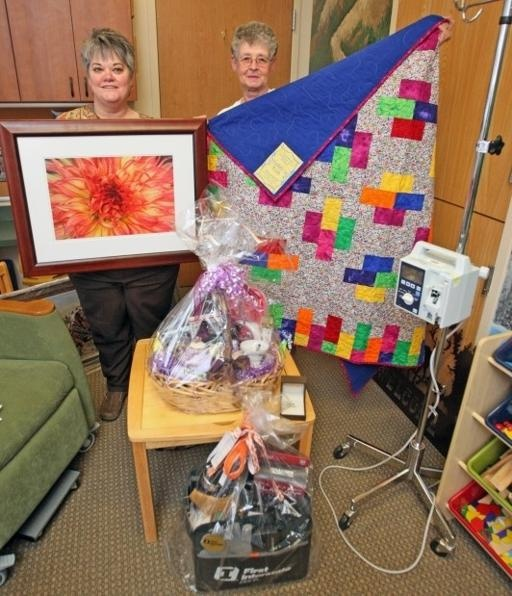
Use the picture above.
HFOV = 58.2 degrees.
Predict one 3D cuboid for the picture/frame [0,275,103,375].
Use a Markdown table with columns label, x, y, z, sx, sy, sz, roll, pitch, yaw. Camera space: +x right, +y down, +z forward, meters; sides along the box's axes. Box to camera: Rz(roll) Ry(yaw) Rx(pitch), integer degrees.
| label | x | y | z | sx | sy | sz | roll | pitch | yaw |
| --- | --- | --- | --- | --- | --- | --- | --- | --- | --- |
| picture/frame | -1.020 | 0.148 | 2.397 | 0.553 | 0.471 | 0.125 | -15 | 3 | -33 |

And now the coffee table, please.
| label | x | y | z | sx | sy | sz | roll | pitch | yaw |
| --- | --- | --- | --- | --- | --- | --- | --- | --- | --- |
| coffee table | -0.154 | 0.416 | 1.678 | 0.681 | 0.471 | 0.637 | -4 | 31 | -9 |

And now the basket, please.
| label | x | y | z | sx | sy | sz | roll | pitch | yaw |
| --- | --- | --- | --- | --- | --- | --- | --- | --- | --- |
| basket | -0.122 | 0.146 | 1.332 | 0.398 | 0.317 | 0.273 | 2 | 32 | 3 |

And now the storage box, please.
| label | x | y | z | sx | sy | sz | roll | pitch | yaw |
| --- | --- | --- | --- | --- | --- | --- | --- | --- | --- |
| storage box | -0.019 | 0.608 | 1.299 | 0.428 | 0.257 | 0.286 | -1 | 5 | -8 |

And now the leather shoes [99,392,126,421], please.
| label | x | y | z | sx | sy | sz | roll | pitch | yaw |
| --- | --- | --- | --- | --- | --- | --- | --- | --- | --- |
| leather shoes | -0.638 | 0.481 | 2.032 | 0.057 | 0.064 | 0.162 | 5 | 14 | -11 |

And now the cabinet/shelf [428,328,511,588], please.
| label | x | y | z | sx | sy | sz | roll | pitch | yaw |
| --- | --- | --- | --- | --- | --- | --- | --- | --- | --- |
| cabinet/shelf | 0.663 | 0.420 | 1.433 | 0.108 | 0.686 | 0.249 | 23 | 39 | 32 |
